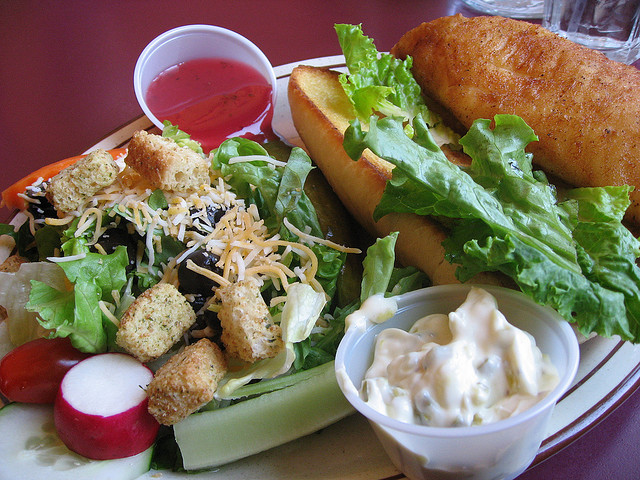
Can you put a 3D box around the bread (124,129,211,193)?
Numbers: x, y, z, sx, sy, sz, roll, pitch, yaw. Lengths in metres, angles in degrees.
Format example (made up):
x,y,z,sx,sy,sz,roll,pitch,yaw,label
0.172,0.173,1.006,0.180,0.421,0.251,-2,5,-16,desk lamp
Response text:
x,y,z,sx,sy,sz,roll,pitch,yaw,label
-0.532,-0.279,1.853,0.185,0.137,0.328,-5,28,-41,bread

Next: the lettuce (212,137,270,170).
x,y,z,sx,sy,sz,roll,pitch,yaw,label
-0.258,-0.323,1.881,0.221,0.114,0.129,-19,24,-41,lettuce

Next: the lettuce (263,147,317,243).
x,y,z,sx,sy,sz,roll,pitch,yaw,label
-0.100,-0.168,1.865,0.123,0.057,0.338,16,67,13,lettuce

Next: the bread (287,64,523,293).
x,y,z,sx,sy,sz,roll,pitch,yaw,label
0.226,-0.310,1.979,0.474,0.306,0.983,-15,70,-47,bread

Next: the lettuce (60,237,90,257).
x,y,z,sx,sy,sz,roll,pitch,yaw,label
-0.793,0.017,1.748,0.063,0.022,0.067,12,39,6,lettuce

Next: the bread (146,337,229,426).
x,y,z,sx,sy,sz,roll,pitch,yaw,label
-0.396,0.405,1.590,0.227,0.160,0.188,-15,42,1,bread

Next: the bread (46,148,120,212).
x,y,z,sx,sy,sz,roll,pitch,yaw,label
-0.770,-0.189,1.827,0.237,0.096,0.150,-36,54,-6,bread

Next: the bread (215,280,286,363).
x,y,z,sx,sy,sz,roll,pitch,yaw,label
-0.206,0.248,1.636,0.161,0.268,0.098,-15,9,14,bread

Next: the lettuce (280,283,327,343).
x,y,z,sx,sy,sz,roll,pitch,yaw,label
-0.065,0.217,1.611,0.091,0.093,0.183,10,48,25,lettuce

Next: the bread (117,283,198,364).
x,y,z,sx,sy,sz,roll,pitch,yaw,label
-0.491,0.228,1.647,0.239,0.184,0.072,-48,30,-19,bread

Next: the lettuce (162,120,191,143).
x,y,z,sx,sy,sz,roll,pitch,yaw,label
-0.538,-0.404,2.019,0.089,0.042,0.086,45,21,29,lettuce

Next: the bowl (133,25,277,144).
x,y,z,sx,sy,sz,roll,pitch,yaw,label
-0.507,-0.704,2.511,0.702,0.256,0.726,-17,0,0,bowl
